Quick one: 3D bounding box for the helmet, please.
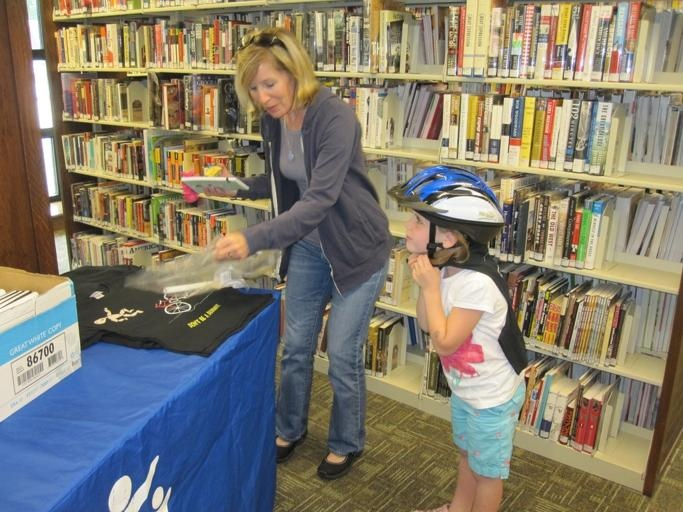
[{"bbox_3d":[0.408,-0.219,1.967,0.456,0.220,0.341,16,25,-1],"label":"helmet"}]

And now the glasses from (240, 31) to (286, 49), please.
[{"bbox_3d":[-0.313,-0.858,2.080,0.184,0.065,0.051,5,16,15],"label":"glasses"}]

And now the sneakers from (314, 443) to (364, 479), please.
[{"bbox_3d":[-0.001,1.070,2.692,0.103,0.093,0.252,11,22,39],"label":"sneakers"}]
